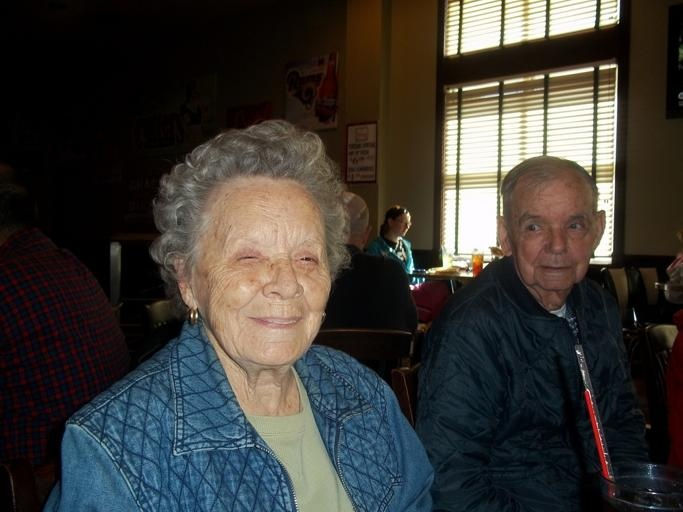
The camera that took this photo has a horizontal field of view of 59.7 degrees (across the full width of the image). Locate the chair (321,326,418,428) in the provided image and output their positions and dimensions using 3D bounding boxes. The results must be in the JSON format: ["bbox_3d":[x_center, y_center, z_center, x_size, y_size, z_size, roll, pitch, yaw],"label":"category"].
[{"bbox_3d":[0.136,0.452,2.381,0.256,0.510,0.332,-1,4,1],"label":"chair"}]
